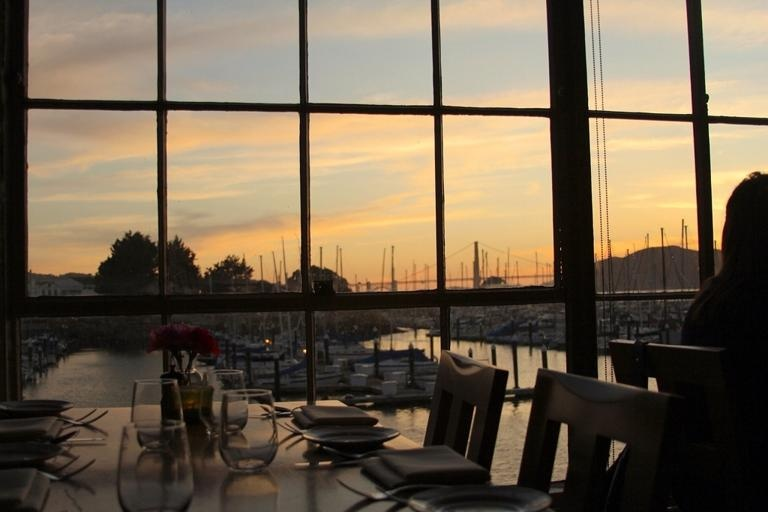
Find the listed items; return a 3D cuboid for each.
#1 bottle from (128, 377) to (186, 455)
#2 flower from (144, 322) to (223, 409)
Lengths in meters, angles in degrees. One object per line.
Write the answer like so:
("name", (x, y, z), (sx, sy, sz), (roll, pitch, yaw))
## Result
("bottle", (-0.864, 0.604, 3.343), (0.216, 0.315, 0.217), (-1, -10, 0))
("flower", (-1.009, 0.522, 4.284), (0.422, 0.485, 0.383), (-3, -8, 14))
